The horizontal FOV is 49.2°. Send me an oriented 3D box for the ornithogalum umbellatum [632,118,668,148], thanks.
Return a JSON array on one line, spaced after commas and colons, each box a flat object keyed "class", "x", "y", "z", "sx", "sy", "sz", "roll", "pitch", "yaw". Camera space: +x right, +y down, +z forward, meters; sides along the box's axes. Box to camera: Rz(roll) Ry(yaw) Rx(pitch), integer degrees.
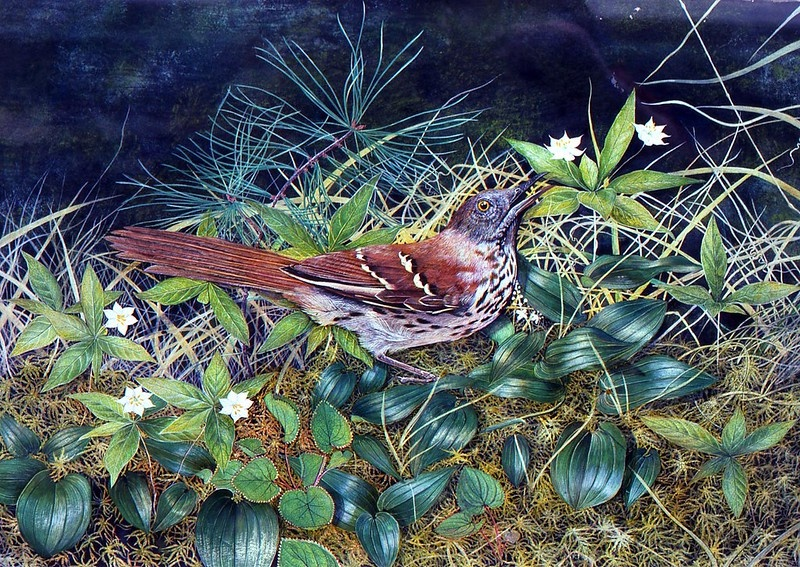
[{"class": "ornithogalum umbellatum", "x": 0.782, "y": -0.462, "z": 2.693, "sx": 0.090, "sy": 0.036, "sz": 0.086, "roll": -19, "pitch": 64, "yaw": -8}]
